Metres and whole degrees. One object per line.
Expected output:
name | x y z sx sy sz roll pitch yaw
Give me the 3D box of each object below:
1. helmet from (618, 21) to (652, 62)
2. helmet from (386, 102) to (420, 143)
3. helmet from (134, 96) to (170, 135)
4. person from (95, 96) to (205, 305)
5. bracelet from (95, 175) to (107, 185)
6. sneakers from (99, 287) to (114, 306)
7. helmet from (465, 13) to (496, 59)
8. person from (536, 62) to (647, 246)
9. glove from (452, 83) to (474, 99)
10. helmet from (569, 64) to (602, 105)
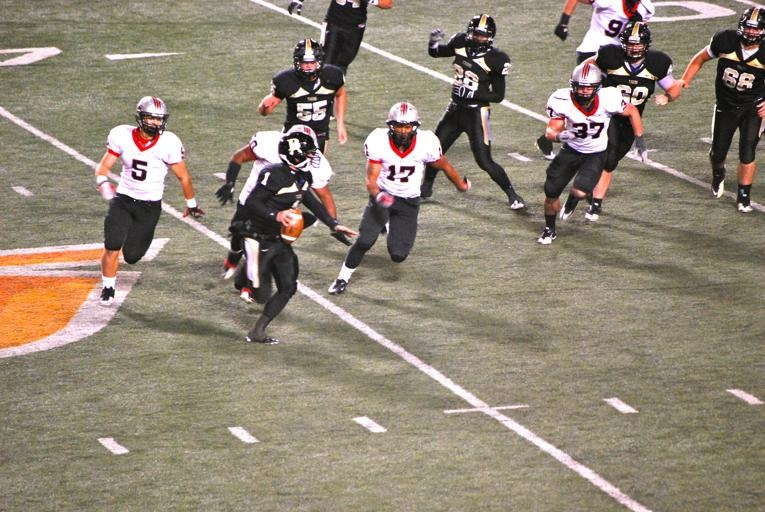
helmet | 3.004 -2.580 12.738 0.539 0.420 0.466 5 51 12
helmet | 0.198 -1.424 11.127 0.539 0.350 0.425 1 40 -1
helmet | -2.263 -1.385 10.569 0.274 0.357 0.327 4 22 -7
person | -2.325 -0.607 10.702 1.009 1.972 1.035 3 25 -12
bracelet | -2.760 -0.761 10.580 0.150 0.058 0.107 1 4 -6
sneakers | -2.681 0.370 10.516 0.135 0.170 0.235 2 20 -13
helmet | 1.153 -2.640 12.804 0.287 0.469 0.319 20 26 24
person | 2.232 -1.191 12.207 0.957 2.002 1.563 21 26 24
glove | 0.942 -1.973 12.834 0.309 0.161 0.114 21 26 40
helmet | 2.276 -1.922 12.024 0.502 0.384 0.439 7 53 13
